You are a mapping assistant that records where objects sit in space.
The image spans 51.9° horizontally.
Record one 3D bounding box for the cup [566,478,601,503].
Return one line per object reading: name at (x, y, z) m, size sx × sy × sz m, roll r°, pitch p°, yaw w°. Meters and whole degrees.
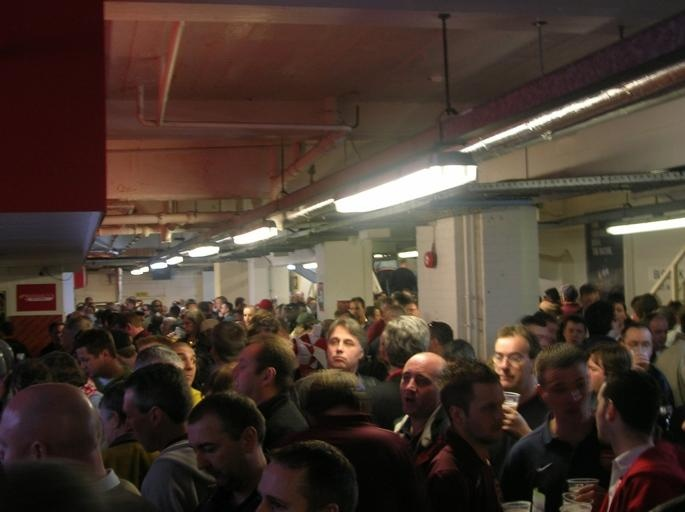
cup at (1.304, 1.276, 3.848) m, size 0.112 × 0.090 × 0.116 m, roll 0°, pitch -14°, yaw 0°
